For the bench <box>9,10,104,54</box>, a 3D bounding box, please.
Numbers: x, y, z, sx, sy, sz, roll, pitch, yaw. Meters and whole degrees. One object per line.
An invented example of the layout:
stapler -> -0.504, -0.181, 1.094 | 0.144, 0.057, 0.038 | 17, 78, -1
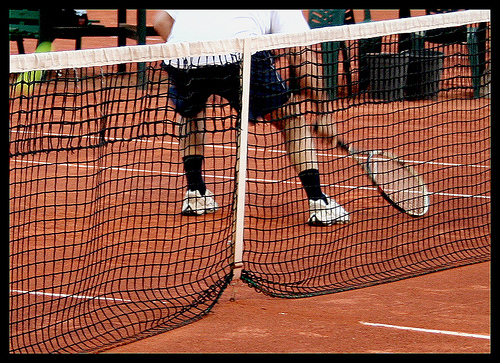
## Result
bench -> -3.726, -2.706, 11.913 | 1.211, 0.657, 1.335 | -6, 8, -15

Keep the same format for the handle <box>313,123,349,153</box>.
handle -> 0.718, -0.385, 5.720 | 0.180, 0.284, 0.599 | 0, 9, 26

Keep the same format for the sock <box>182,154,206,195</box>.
sock -> -0.495, -0.076, 5.687 | 0.224, 0.328, 0.251 | -1, 21, -31

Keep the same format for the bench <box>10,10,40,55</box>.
bench -> -3.860, -2.546, 11.306 | 0.613, 0.710, 0.589 | -4, 20, -12
